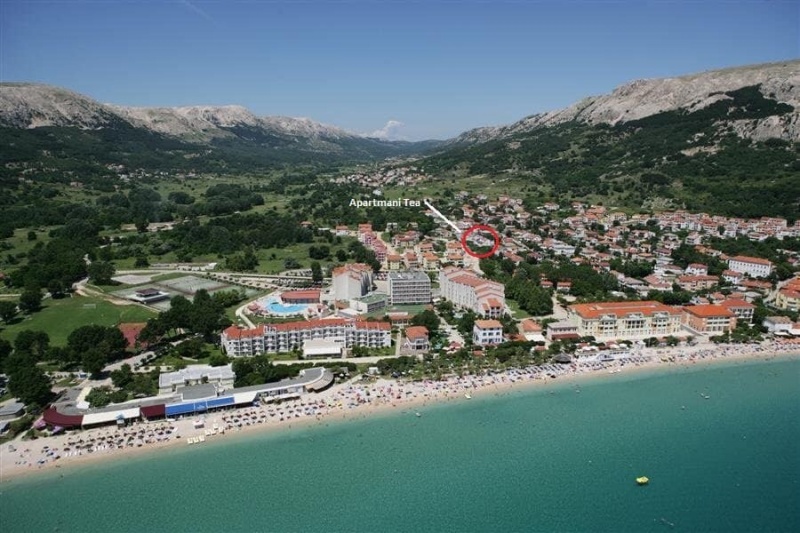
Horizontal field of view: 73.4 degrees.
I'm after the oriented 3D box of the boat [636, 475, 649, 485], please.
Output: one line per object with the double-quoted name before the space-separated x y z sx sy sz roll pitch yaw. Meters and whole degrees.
"boat" 33.570 29.650 74.311 2.020 0.785 0.986 -2 7 0
